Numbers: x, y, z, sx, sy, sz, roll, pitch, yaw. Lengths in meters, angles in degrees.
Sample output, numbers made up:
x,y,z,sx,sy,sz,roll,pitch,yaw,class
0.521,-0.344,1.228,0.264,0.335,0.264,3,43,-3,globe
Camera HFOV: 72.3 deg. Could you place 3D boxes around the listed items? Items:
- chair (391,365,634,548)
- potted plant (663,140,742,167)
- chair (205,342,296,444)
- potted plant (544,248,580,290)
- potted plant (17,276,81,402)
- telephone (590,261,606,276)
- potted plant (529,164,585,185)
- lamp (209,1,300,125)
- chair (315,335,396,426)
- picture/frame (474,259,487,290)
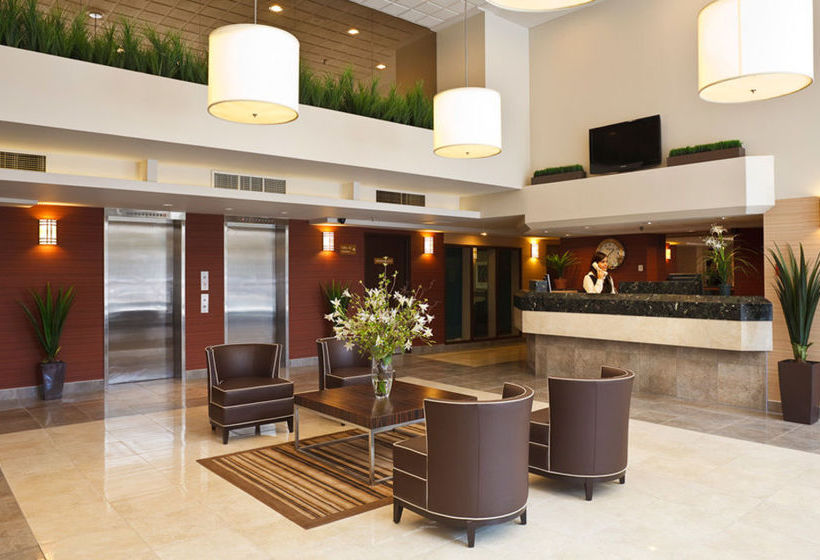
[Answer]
x,y,z,sx,sy,sz,roll,pitch,yaw,class
1.030,1.700,5.606,2.286,1.340,0.724,-3,7,-26,chair
5.101,-2.198,9.842,1.193,0.383,0.445,5,8,42,potted plant
-2.174,1.486,8.055,1.417,1.321,1.207,2,-5,-32,chair
4.051,-0.283,15.345,1.177,1.185,1.158,1,-4,2,potted plant
-5.884,0.983,9.246,0.589,1.851,0.660,6,9,43,potted plant
3.604,-0.184,10.709,0.231,0.243,0.272,0,-5,-12,telephone
2.982,-2.146,11.516,1.034,0.373,0.448,1,6,14,potted plant
-1.561,-1.936,5.393,0.924,1.456,0.885,0,-3,-10,lamp
-0.823,1.299,8.475,0.867,0.871,0.817,0,-2,-34,chair
1.955,-0.148,15.520,0.151,0.826,0.590,5,8,39,picture/frame
